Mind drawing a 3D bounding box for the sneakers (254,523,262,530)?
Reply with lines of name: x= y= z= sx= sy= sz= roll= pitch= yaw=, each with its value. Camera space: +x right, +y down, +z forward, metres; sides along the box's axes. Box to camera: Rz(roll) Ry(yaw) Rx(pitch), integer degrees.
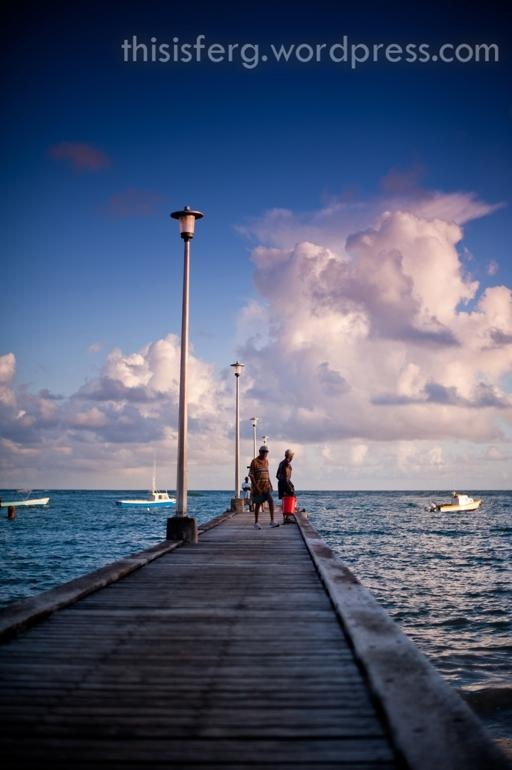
sneakers: x=0.021 y=2.992 z=14.993 sx=0.099 sy=0.127 sz=0.294 roll=-3 pitch=-18 yaw=0
